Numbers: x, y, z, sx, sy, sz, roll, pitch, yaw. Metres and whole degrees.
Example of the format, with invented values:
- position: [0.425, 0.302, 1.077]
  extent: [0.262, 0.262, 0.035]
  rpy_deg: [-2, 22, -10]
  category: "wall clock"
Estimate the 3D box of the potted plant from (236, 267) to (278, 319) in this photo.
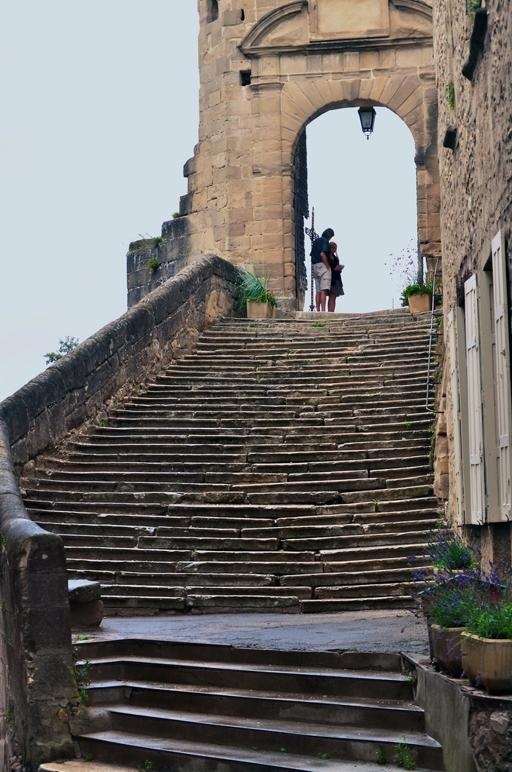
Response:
- position: [0.058, -1.090, 15.580]
  extent: [0.360, 0.634, 0.336]
  rpy_deg: [1, -5, -7]
  category: "potted plant"

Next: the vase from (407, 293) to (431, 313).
- position: [1.762, -0.882, 13.639]
  extent: [0.266, 0.203, 0.175]
  rpy_deg: [-4, -4, 26]
  category: "vase"

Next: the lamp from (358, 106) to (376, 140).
- position: [1.512, -3.597, 17.183]
  extent: [0.187, 0.533, 0.414]
  rpy_deg: [-2, -4, 4]
  category: "lamp"
